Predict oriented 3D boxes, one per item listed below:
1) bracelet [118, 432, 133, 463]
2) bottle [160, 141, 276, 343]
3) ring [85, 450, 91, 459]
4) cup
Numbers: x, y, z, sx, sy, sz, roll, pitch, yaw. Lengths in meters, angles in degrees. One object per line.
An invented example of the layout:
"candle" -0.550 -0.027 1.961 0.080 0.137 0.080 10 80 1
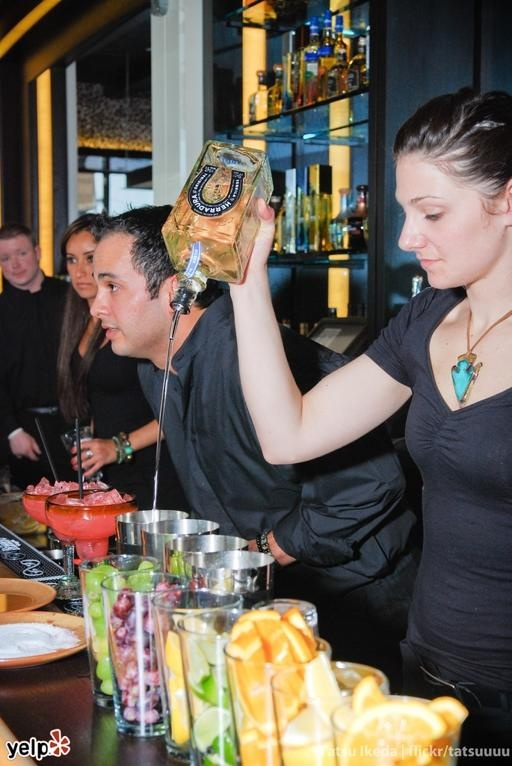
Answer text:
"bracelet" -0.438 0.219 2.330 0.029 0.080 0.069 -3 -9 8
"bottle" -0.051 -0.282 0.991 0.115 0.202 0.110 2 -21 1
"ring" -0.485 0.202 2.003 0.019 0.018 0.006 2 -3 -44
"cup" -0.028 0.262 0.668 0.203 0.091 0.249 2 0 -38
